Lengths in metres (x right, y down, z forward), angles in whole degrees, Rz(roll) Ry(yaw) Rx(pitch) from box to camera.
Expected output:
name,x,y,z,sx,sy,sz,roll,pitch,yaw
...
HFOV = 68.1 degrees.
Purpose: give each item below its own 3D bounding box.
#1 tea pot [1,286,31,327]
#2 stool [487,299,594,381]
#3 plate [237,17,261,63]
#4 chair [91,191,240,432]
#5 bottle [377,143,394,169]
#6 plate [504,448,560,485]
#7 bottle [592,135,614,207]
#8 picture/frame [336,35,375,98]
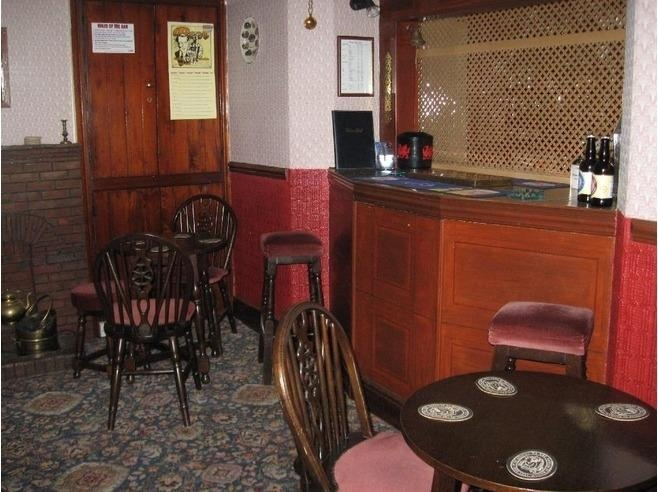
name,x,y,z,sx,sy,sz,roll,pitch,yaw
tea pot,-2.681,0.509,4.232,0.180,0.207,0.285,2,4,8
stool,0.902,0.379,2.083,0.320,0.305,0.335,3,8,19
plate,-0.733,-1.912,4.527,0.034,0.393,0.320,-10,15,-37
chair,-1.041,0.349,4.217,0.768,1.577,2.320,0,6,-5
bottle,0.447,-0.717,3.878,0.136,0.211,0.244,0,12,4
plate,0.515,0.553,1.231,0.139,0.008,0.099,-7,15,-27
bottle,1.328,-0.354,2.336,0.115,0.325,0.131,3,12,16
picture/frame,0.217,-1.568,4.200,0.469,0.681,0.047,-2,11,-13
